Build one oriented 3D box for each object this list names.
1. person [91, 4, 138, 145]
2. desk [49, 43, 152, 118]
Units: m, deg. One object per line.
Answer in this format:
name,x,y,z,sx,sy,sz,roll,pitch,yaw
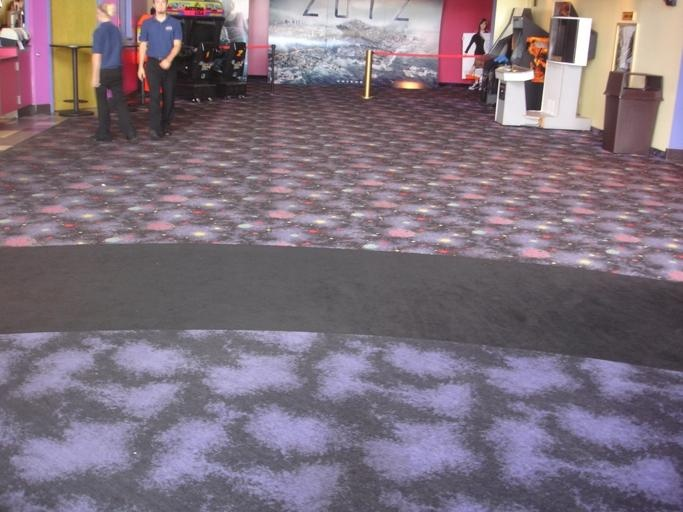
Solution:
person,-3.218,-2.502,7.420,0.519,1.836,0.611,7,21,2
desk,-4.547,-3.189,9.830,2.031,1.173,1.808,15,20,26
